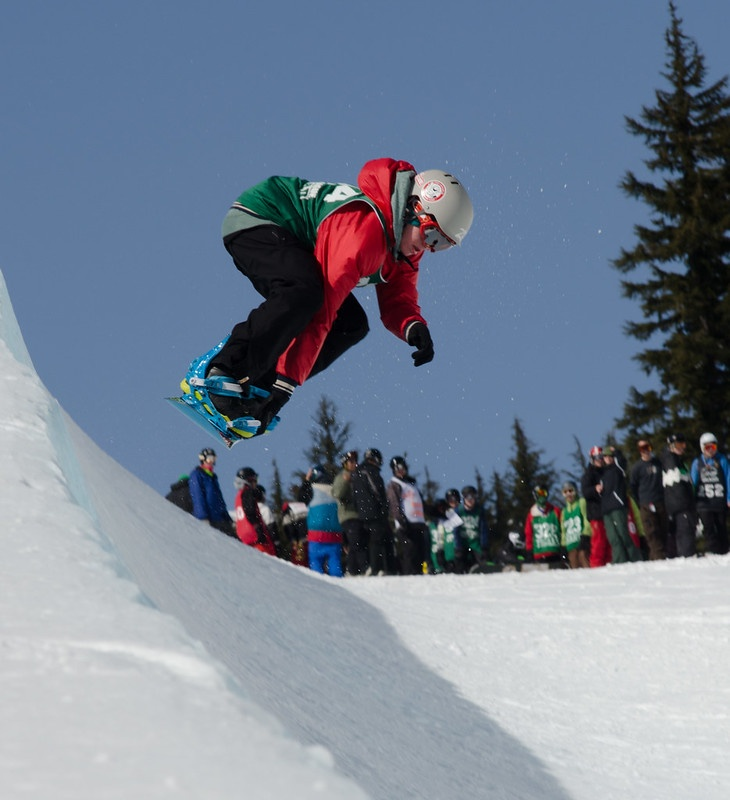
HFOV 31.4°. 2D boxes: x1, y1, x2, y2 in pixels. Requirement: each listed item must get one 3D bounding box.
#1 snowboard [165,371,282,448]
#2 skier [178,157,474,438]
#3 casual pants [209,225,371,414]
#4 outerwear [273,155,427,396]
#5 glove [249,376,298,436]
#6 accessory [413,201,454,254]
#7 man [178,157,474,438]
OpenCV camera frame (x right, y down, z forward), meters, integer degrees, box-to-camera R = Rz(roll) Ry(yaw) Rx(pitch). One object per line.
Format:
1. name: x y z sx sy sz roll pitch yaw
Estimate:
1. snowboard: -0.583 0.015 5.280 0.472 0.170 0.191 22 -26 10
2. skier: -0.141 -0.421 5.239 0.849 1.109 0.549 25 -20 11
3. casual pants: -0.381 -0.427 5.313 0.587 0.737 0.596 18 11 19
4. outerwear: -0.024 -0.518 5.333 0.492 0.960 0.830 5 3 9
5. glove: -0.364 0.005 4.972 0.085 0.204 0.118 40 5 -3
6. accessory: 0.316 -0.699 5.287 0.196 0.108 0.147 25 -28 32
7. man: -0.141 -0.421 5.239 0.849 1.109 0.549 25 -20 11
